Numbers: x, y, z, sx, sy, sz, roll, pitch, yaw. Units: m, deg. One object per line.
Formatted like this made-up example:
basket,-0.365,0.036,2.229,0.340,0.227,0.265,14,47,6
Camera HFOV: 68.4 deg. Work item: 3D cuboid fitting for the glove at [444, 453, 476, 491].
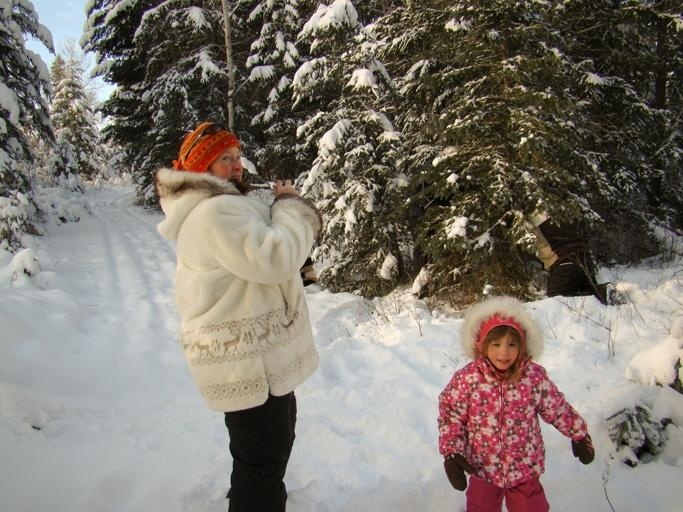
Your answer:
glove,1.125,2.087,4.886,0.249,0.354,0.137,-13,-12,-1

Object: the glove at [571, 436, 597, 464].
glove,2.402,1.935,4.959,0.172,0.375,0.226,5,14,44
